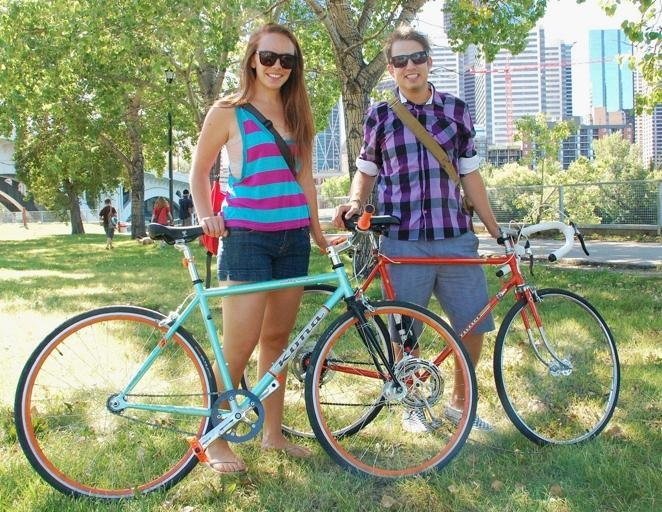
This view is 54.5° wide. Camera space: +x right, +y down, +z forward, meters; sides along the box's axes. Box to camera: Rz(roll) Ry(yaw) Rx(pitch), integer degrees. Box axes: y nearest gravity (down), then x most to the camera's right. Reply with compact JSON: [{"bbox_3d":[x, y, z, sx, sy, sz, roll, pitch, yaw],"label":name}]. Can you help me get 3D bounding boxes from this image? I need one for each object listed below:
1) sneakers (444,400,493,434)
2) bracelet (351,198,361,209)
[{"bbox_3d":[0.986,1.181,4.695,0.365,0.159,0.130,24,17,-12],"label":"sneakers"},{"bbox_3d":[0.185,-0.392,4.812,0.060,0.069,0.062,0,-4,14],"label":"bracelet"}]
